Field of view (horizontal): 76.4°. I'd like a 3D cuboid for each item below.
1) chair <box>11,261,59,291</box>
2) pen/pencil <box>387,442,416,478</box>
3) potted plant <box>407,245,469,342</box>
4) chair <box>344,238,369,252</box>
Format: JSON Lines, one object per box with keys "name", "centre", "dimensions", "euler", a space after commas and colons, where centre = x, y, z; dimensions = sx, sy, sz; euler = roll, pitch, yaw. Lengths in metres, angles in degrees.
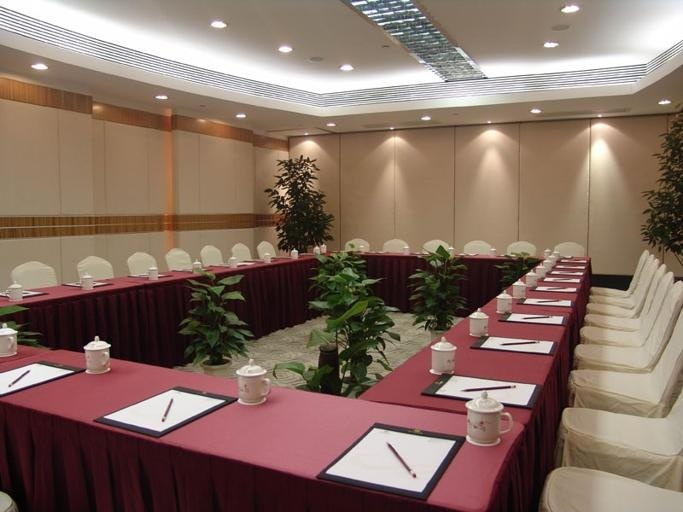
{"name": "chair", "centre": [-3.427, 0.176, 4.879], "dimensions": [0.436, 0.496, 0.382], "euler": [7, 8, 41]}
{"name": "pen/pencil", "centre": [0.174, 0.620, 1.308], "dimensions": [0.021, 0.020, 0.187], "euler": [-22, 10, -9]}
{"name": "potted plant", "centre": [1.272, 0.390, 5.577], "dimensions": [0.762, 1.056, 0.787], "euler": [7, -9, -33]}
{"name": "chair", "centre": [0.306, -0.197, 8.245], "dimensions": [0.483, 0.423, 0.342], "euler": [-1, -8, 7]}
